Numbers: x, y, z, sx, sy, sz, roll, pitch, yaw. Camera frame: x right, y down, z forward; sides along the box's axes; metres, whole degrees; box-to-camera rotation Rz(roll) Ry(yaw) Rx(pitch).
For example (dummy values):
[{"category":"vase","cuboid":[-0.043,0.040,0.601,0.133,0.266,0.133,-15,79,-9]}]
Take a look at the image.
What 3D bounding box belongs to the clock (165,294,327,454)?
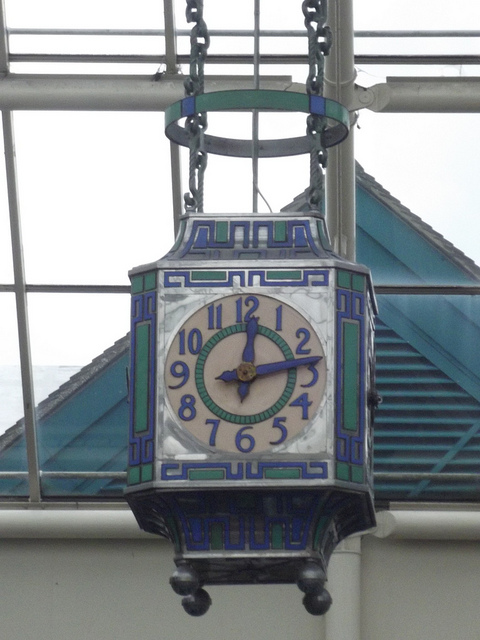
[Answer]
[{"category":"clock","cuboid":[0.030,0.299,12.372,0.566,0.745,0.042,0,-11,7]}]
